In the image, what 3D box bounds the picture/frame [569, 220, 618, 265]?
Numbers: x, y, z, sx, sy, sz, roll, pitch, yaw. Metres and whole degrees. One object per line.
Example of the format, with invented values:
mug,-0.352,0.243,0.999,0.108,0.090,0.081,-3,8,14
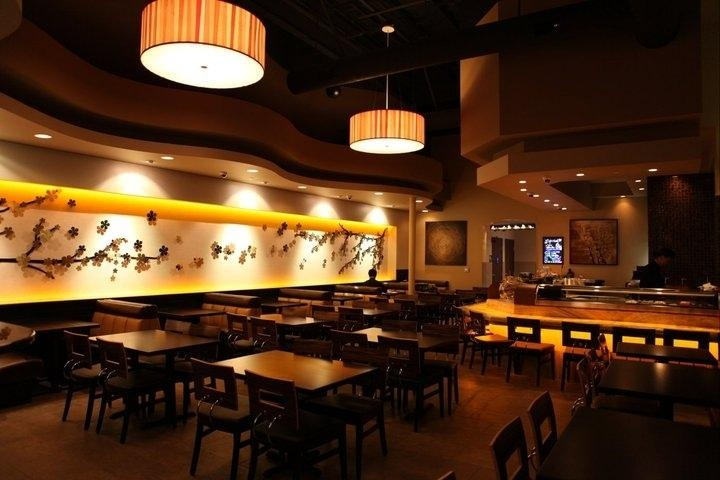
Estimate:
picture/frame,6.875,0.075,14.281,1.394,1.469,0.162,-1,1,39
